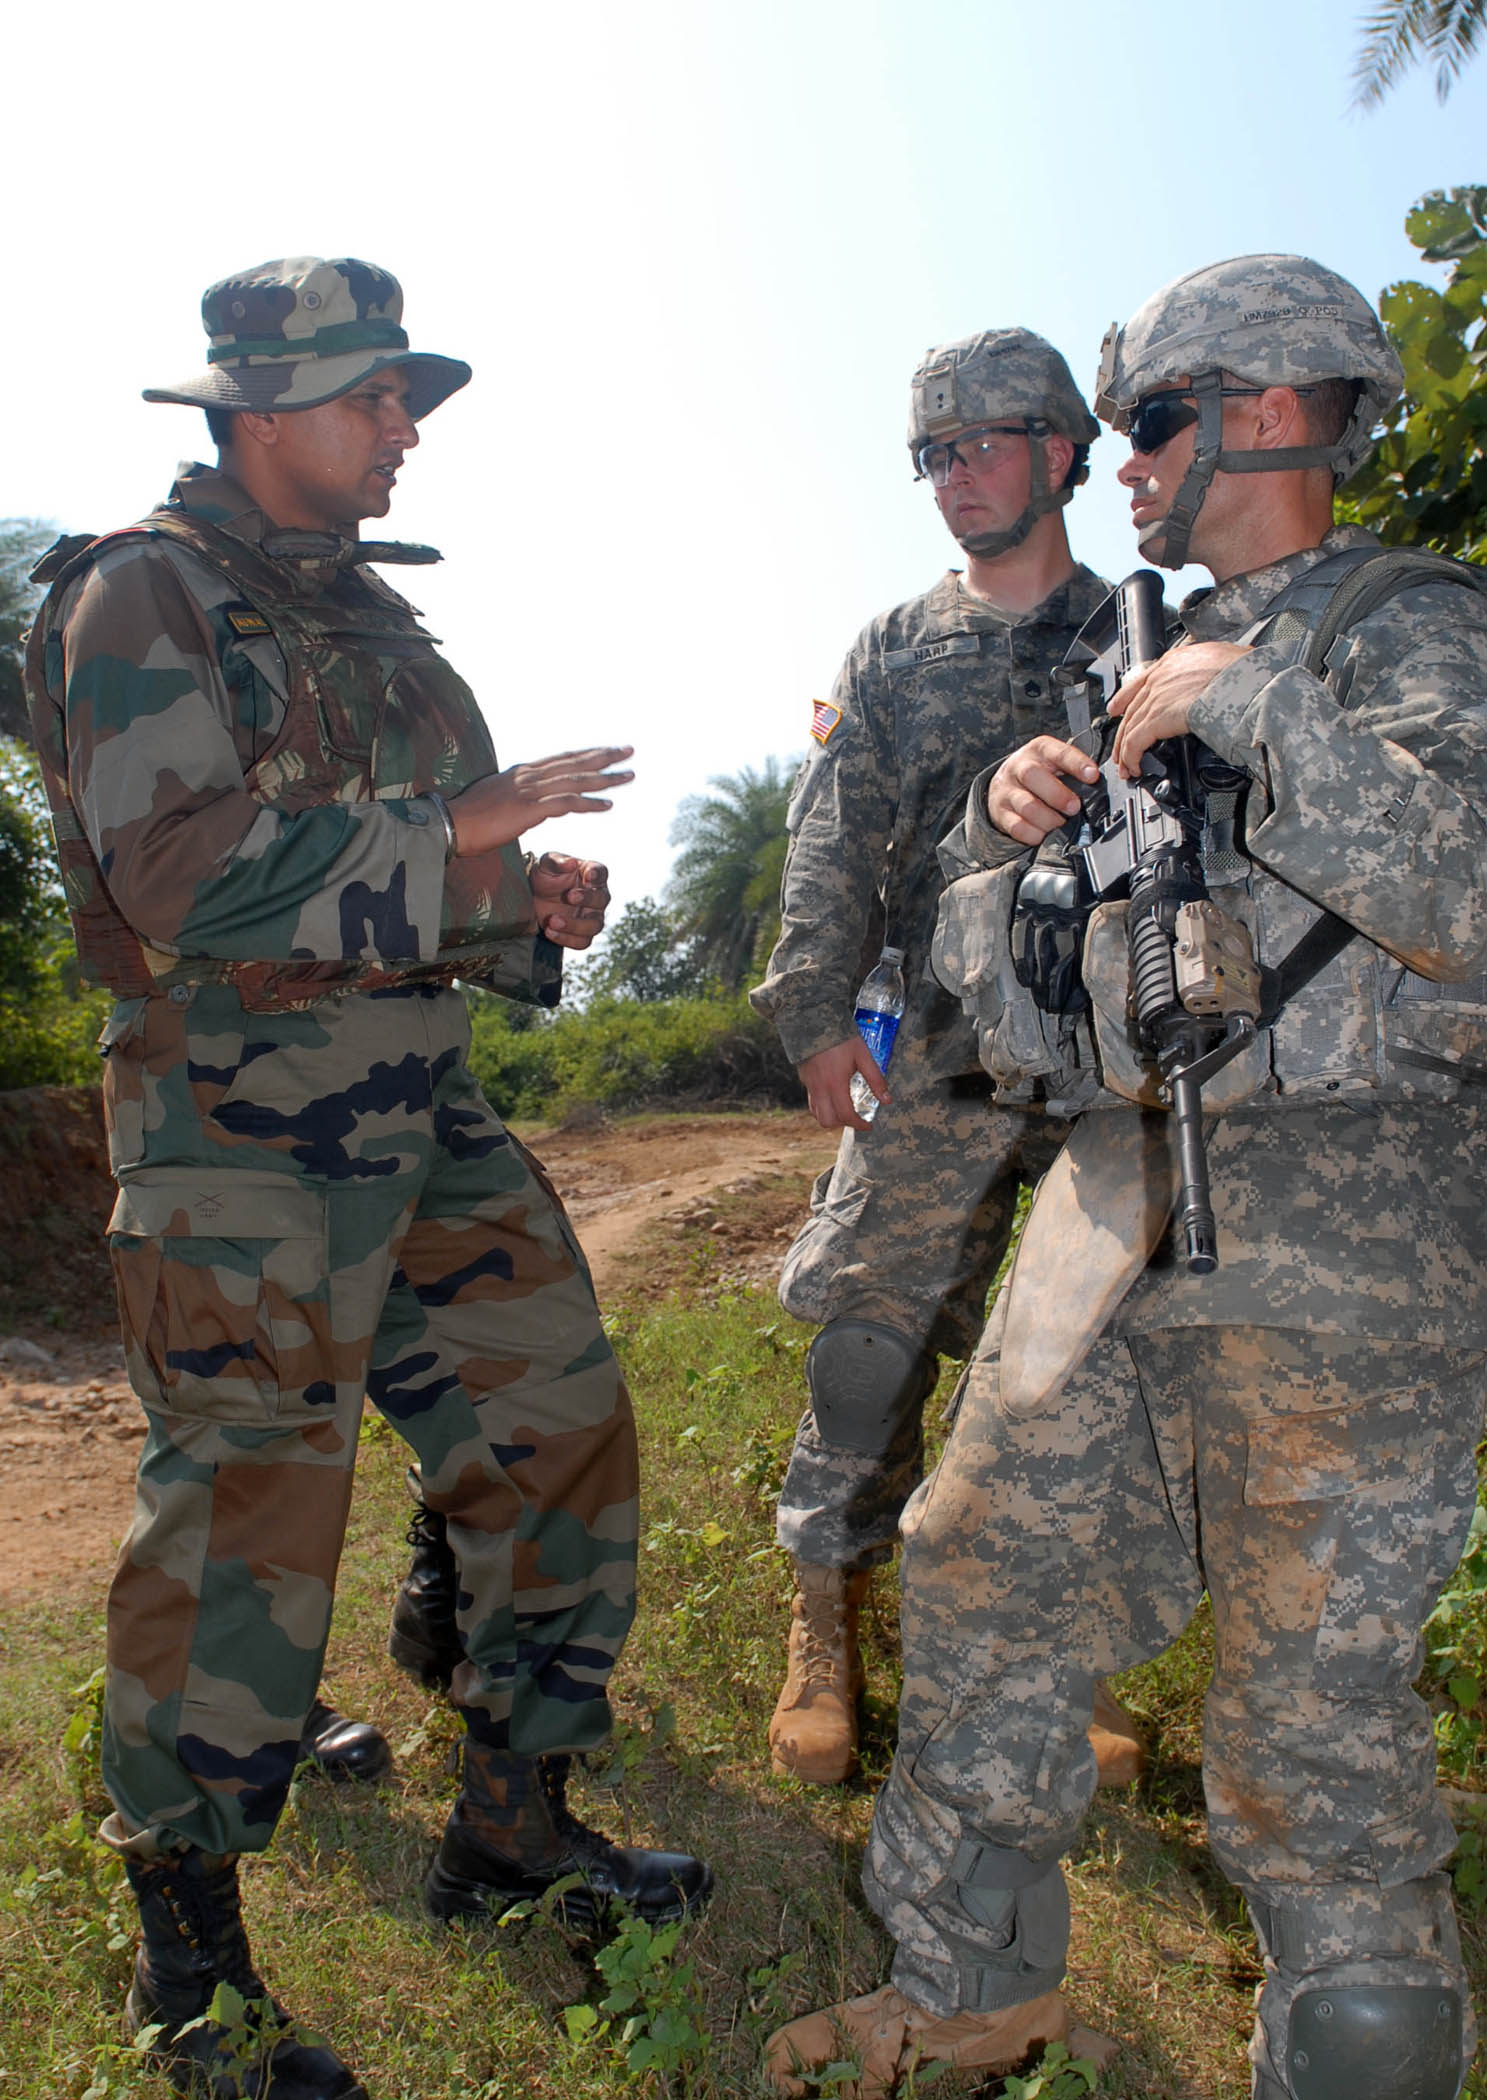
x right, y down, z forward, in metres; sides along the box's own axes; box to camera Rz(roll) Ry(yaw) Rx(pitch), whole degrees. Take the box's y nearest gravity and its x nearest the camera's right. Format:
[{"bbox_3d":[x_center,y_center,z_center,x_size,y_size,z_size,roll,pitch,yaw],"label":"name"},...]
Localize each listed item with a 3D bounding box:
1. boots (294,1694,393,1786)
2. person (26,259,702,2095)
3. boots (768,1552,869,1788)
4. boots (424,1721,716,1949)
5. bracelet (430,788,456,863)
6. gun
[{"bbox_3d":[-0.824,1.482,3.670,0.172,0.074,0.268,7,-1,-36],"label":"boots"},{"bbox_3d":[-0.625,0.097,3.047,1.111,3.044,1.159,-1,9,-20],"label":"person"},{"bbox_3d":[0.167,1.373,3.764,0.167,0.185,0.478,1,14,8],"label":"boots"},{"bbox_3d":[-0.363,1.464,3.308,0.687,0.429,0.239,-1,-1,-6],"label":"boots"},{"bbox_3d":[-0.489,-0.372,2.906,0.036,0.085,0.069,-2,8,-16],"label":"bracelet"},{"bbox_3d":[0.581,-0.139,2.452,0.251,1.052,0.344,18,-29,-28],"label":"gun"}]
